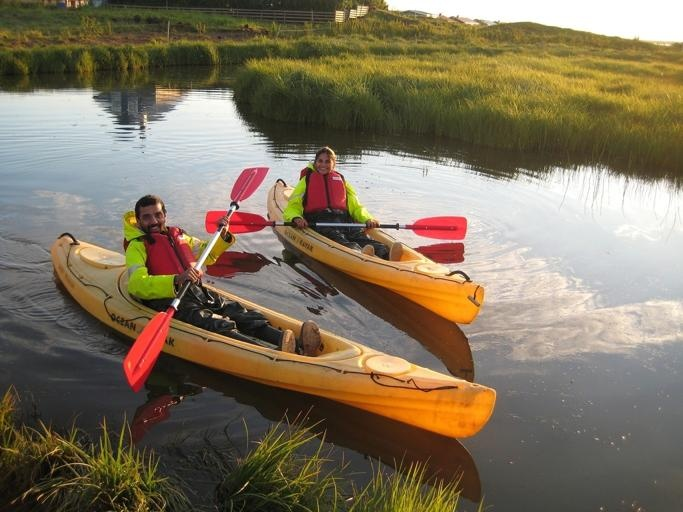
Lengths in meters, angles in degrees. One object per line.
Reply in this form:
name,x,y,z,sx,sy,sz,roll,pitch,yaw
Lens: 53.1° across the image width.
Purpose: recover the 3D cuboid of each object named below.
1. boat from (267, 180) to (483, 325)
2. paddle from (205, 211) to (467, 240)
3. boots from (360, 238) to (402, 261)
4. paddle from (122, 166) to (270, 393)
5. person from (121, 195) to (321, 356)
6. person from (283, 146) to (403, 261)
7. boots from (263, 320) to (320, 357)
boat,0.267,0.130,8.072,0.918,0.665,3.100,-17,38,-38
paddle,-0.130,-0.354,8.419,3.176,0.374,0.330,2,-4,4
boots,0.525,-0.053,7.905,0.372,0.218,0.218,8,13,32
paddle,-1.207,-0.083,7.173,0.491,0.150,3.895,-2,38,25
person,-1.181,0.226,6.503,2.144,1.064,1.217,21,20,26
person,-0.106,-0.546,8.328,1.025,0.809,1.526,-13,33,-36
boots,-0.457,0.881,6.334,0.202,0.672,0.298,-8,62,-39
